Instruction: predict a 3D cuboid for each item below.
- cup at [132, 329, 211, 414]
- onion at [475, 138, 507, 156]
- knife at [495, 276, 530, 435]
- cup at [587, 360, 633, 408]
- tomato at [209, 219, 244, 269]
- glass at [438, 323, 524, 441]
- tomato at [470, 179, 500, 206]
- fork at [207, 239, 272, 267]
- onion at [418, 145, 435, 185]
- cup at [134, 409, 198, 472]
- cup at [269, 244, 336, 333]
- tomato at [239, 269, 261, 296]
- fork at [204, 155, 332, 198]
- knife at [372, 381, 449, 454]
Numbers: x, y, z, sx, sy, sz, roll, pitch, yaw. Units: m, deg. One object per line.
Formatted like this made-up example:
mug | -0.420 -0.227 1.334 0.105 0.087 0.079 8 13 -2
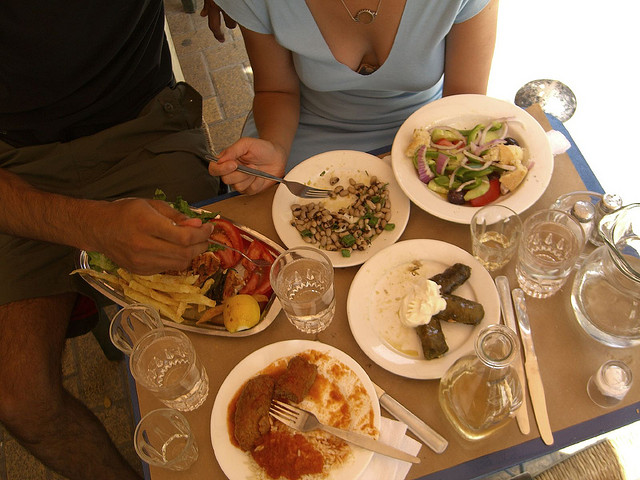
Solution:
cup | -0.504 0.455 1.594 0.201 0.124 0.185 52 -11 14
onion | 0.677 -0.368 1.888 0.116 0.076 0.025 16 6 -9
knife | 0.645 0.372 1.591 0.059 0.495 0.011 -4 -21 2
cup | 0.890 0.452 1.514 0.113 0.153 0.139 8 -29 10
tomato | -0.381 0.014 1.865 0.183 0.131 0.081 20 8 28
glass | 0.482 0.447 1.425 0.175 0.171 0.309 50 -16 30
tomato | 0.647 -0.183 1.844 0.101 0.109 0.054 12 6 -27
fork | -0.312 0.054 1.827 0.167 0.021 0.030 25 -43 -7
onion | 0.421 -0.295 1.888 0.079 0.131 0.024 11 -6 -41
cup | -0.501 0.652 1.578 0.173 0.208 0.207 -18 -23 -3
cup | -0.013 0.151 1.720 0.245 0.295 0.299 -2 -27 8
tomato | -0.264 0.163 1.797 0.056 0.095 0.018 19 -6 11
fork | -0.196 -0.275 2.016 0.527 0.079 0.064 20 -11 7
knife | 0.291 0.581 1.516 0.291 0.040 0.032 47 -1 23
